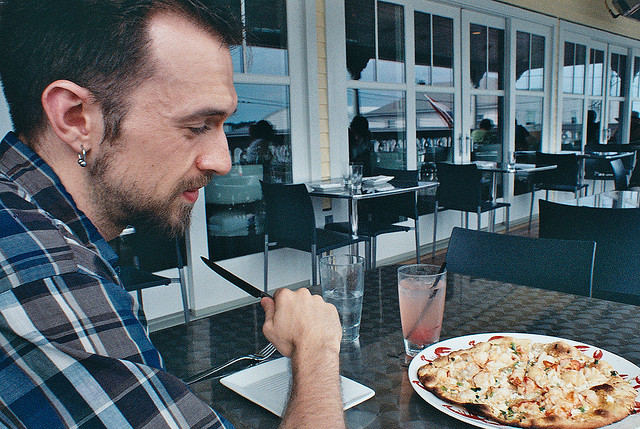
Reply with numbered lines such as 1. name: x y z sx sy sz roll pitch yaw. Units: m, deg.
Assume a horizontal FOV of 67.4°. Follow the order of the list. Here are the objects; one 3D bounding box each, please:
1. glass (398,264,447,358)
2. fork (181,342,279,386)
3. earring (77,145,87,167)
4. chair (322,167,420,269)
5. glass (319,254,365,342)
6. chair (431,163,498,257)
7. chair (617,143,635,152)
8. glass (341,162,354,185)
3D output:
1. glass: 0.225 0.203 1.038 0.104 0.161 0.224 -4 9 9
2. fork: -0.182 0.306 0.976 0.167 0.016 0.017 -21 28 -14
3. earring: -0.400 -0.100 0.805 0.014 0.036 0.022 -11 11 -24
4. chair: 0.532 0.085 3.599 0.647 0.730 0.552 -20 2 0
5. glass: 0.058 0.182 1.129 0.104 0.176 0.179 -6 9 -1
6. chair: 1.204 -0.022 4.217 0.409 0.354 0.625 5 -10 31
7. chair: 4.118 -0.916 6.448 0.170 0.096 0.149 0 1 -5
8. glass: 0.182 -0.283 3.226 0.071 0.151 0.115 -6 10 2
